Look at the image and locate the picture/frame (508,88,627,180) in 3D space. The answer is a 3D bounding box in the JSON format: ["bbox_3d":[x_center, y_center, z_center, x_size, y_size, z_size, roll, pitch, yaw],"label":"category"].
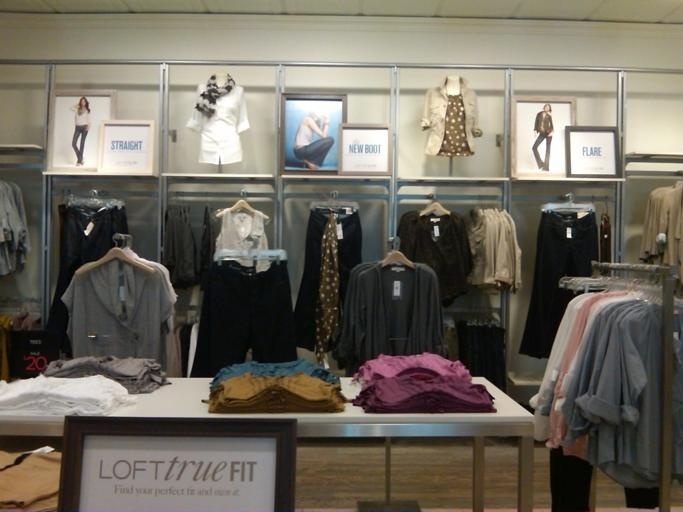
[{"bbox_3d":[2.046,-1.097,5.857,0.870,0.797,0.065,1,-6,-6],"label":"picture/frame"}]

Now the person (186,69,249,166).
[{"bbox_3d":[-1.119,-1.230,5.784,0.538,0.829,0.235,-3,10,-16],"label":"person"}]

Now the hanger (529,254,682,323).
[{"bbox_3d":[1.802,0.144,4.085,0.294,0.304,0.838,-4,11,-22],"label":"hanger"}]
